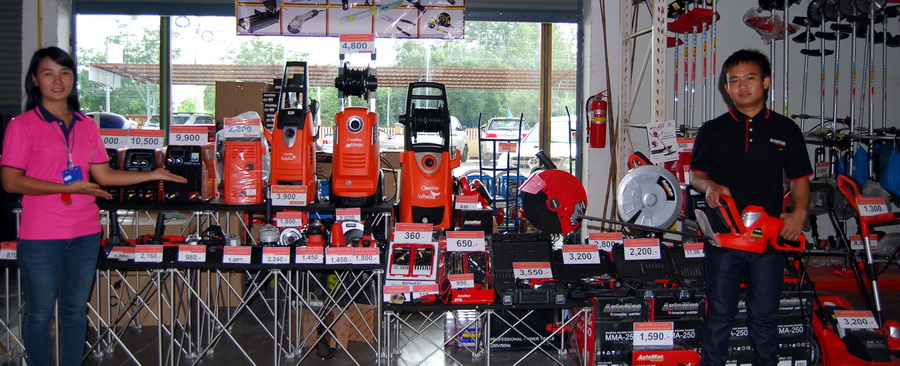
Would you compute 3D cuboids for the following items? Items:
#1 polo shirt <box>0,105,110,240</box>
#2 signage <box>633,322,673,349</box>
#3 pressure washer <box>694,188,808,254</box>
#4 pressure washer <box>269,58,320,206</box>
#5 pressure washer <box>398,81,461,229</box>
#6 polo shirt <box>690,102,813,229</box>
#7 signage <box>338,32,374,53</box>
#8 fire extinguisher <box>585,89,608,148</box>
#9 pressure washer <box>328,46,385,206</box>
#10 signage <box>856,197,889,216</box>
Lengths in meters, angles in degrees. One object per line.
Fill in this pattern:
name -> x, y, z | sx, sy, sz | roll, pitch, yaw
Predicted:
polo shirt -> -5.585, -0.148, 10.878 | 1.307, 1.982, 0.312 | -2, 0, -2
signage -> 2.974, 2.228, 11.241 | 0.468, 0.245, 0.017 | 0, -6, -2
pressure washer -> 4.269, 0.579, 10.931 | 1.772, 0.663, 0.485 | 8, -2, -8
pressure washer -> -2.472, -0.817, 12.034 | 0.634, 2.266, 0.715 | -2, 0, 21
pressure washer -> -0.348, -0.431, 11.853 | 0.956, 2.202, 0.330 | -2, 0, -2
polo shirt -> 4.311, -0.206, 11.154 | 1.990, 1.609, 0.915 | 2, 13, 8
signage -> -1.694, -2.516, 13.725 | 0.399, 0.238, 0.511 | 1, 4, 12
fire extinguisher -> 2.744, -1.200, 14.238 | 0.408, 0.960, 0.494 | -2, 0, 9
pressure washer -> -1.522, -0.838, 12.315 | 0.811, 2.407, 1.024 | -2, 0, -6
signage -> 6.416, 0.344, 11.611 | 0.495, 0.262, 0.242 | -2, 1, -36
